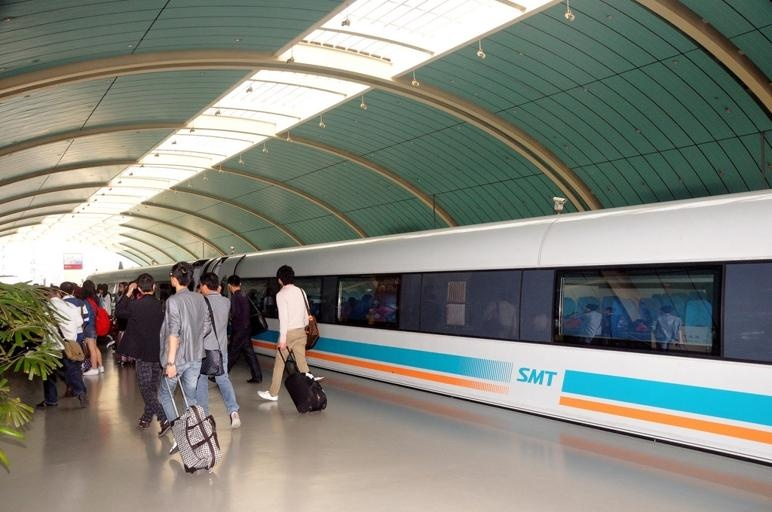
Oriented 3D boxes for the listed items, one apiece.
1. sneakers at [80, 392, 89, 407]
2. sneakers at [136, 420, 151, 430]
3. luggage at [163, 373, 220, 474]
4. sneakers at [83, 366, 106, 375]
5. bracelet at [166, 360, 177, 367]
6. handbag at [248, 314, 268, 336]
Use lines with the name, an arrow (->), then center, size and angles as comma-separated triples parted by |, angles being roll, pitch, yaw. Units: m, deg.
sneakers -> -6.742, 3.139, 9.744 | 0.184, 0.374, 0.170 | -1, -10, -16
sneakers -> -4.591, 3.170, 8.255 | 0.201, 0.120, 0.151 | -3, -5, 32
luggage -> -2.750, 2.512, 6.362 | 0.532, 1.057, 0.645 | -12, -27, -26
sneakers -> -8.821, 3.454, 13.213 | 0.550, 0.203, 0.188 | 2, 0, 3
bracelet -> -3.213, 1.621, 6.585 | 0.073, 0.064, 0.147 | -1, -3, 22
handbag -> -4.494, 2.435, 15.420 | 0.799, 0.699, 0.205 | 0, -4, 35
